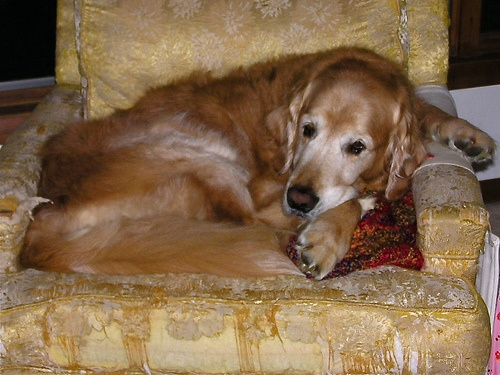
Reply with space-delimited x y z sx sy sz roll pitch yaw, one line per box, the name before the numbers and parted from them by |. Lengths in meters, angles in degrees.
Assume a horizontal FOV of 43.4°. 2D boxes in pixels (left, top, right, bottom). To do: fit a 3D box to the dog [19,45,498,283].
dog | -0.019 -0.004 2.547 1.490 0.456 0.963 -1 33 4
